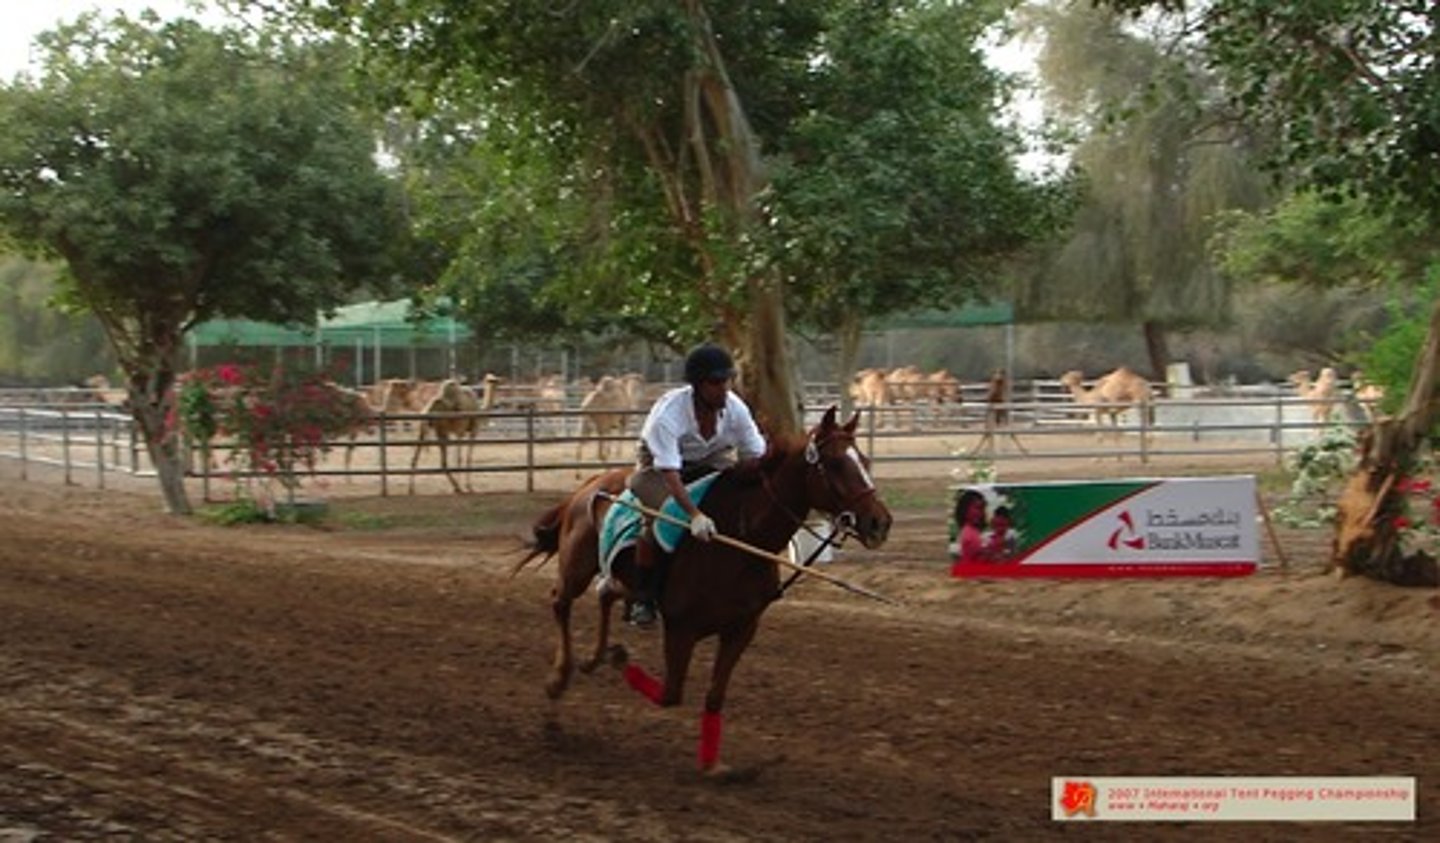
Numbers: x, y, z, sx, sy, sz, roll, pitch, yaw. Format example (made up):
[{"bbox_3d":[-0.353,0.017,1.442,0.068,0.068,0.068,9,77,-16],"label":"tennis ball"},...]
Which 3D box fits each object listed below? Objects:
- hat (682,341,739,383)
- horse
[{"bbox_3d":[-0.120,-0.766,19.286,0.686,0.497,0.343,0,2,3],"label":"hat"},{"bbox_3d":[-0.115,2.162,19.640,4.466,4.749,1.369,1,2,32],"label":"horse"}]
